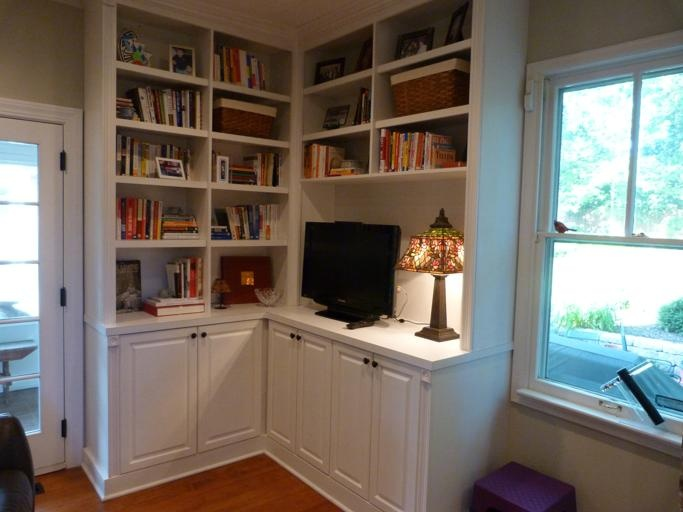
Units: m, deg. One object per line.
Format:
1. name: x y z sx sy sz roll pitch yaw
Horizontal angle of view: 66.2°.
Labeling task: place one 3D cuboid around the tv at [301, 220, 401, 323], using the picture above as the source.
1. tv: 0.089 0.108 3.689 0.151 0.523 0.664 -3 9 -41

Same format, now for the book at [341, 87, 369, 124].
1. book: 0.104 -1.124 3.870 0.080 0.263 0.251 8 25 -9

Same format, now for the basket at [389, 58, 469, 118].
1. basket: 0.543 -1.040 3.311 0.286 0.218 0.441 -6 5 -44

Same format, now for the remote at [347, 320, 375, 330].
1. remote: 0.115 0.457 3.534 0.143 0.034 0.074 -5 6 -41
